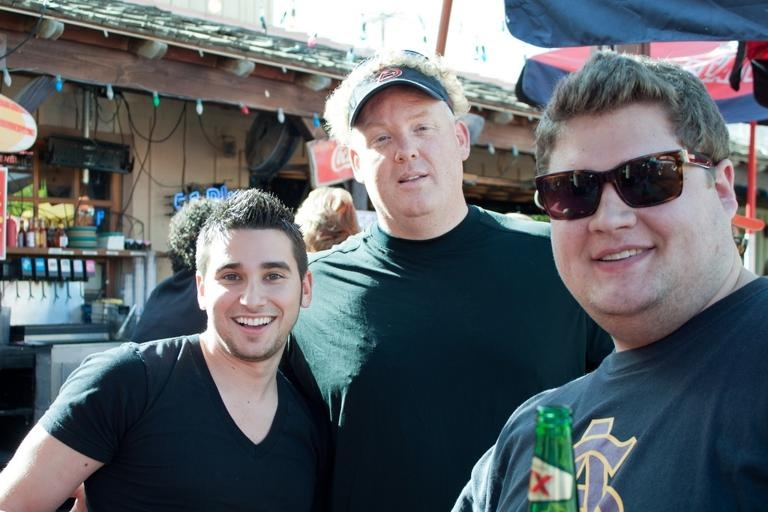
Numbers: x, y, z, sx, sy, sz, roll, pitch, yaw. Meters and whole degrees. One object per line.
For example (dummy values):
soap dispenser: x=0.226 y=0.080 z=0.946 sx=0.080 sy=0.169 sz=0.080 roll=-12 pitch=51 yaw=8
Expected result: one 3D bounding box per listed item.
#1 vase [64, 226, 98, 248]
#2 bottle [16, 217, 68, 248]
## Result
vase: x=-3.355 y=-0.202 z=9.602 sx=0.234 sy=0.199 sz=0.249 roll=0 pitch=3 yaw=-9
bottle: x=-3.776 y=-0.248 z=9.484 sx=0.096 sy=0.293 sz=0.292 roll=-11 pitch=-11 yaw=36
